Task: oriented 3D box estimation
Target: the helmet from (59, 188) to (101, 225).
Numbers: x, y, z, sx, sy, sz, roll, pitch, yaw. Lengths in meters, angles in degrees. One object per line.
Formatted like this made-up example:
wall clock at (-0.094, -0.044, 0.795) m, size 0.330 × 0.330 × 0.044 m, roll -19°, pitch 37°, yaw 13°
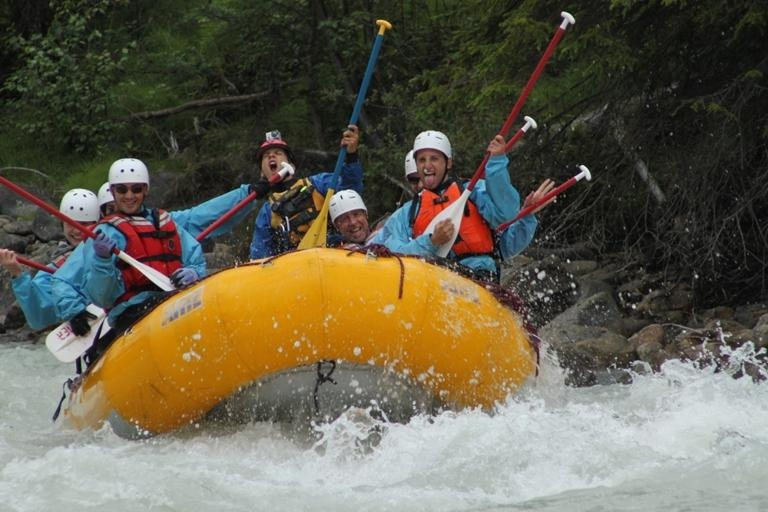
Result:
helmet at (-3.956, -0.652, 14.467) m, size 0.381 × 0.540 × 0.460 m, roll 2°, pitch 60°, yaw -2°

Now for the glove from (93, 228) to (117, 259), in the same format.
glove at (-3.152, -0.145, 12.484) m, size 0.220 × 0.124 × 0.293 m, roll -24°, pitch 76°, yaw -48°

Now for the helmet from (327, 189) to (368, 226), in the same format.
helmet at (-0.465, -0.634, 13.099) m, size 0.303 × 0.425 × 0.330 m, roll -9°, pitch 28°, yaw -4°

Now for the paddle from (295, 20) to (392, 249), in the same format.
paddle at (-0.317, -1.372, 13.732) m, size 0.739 × 3.711 × 0.143 m, roll 16°, pitch 45°, yaw 3°

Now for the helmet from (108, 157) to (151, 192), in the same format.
helmet at (-3.032, -0.978, 13.256) m, size 0.308 × 0.430 × 0.374 m, roll -1°, pitch -7°, yaw -6°

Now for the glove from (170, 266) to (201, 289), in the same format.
glove at (-2.299, 0.240, 12.834) m, size 0.239 × 0.129 × 0.309 m, roll 34°, pitch 41°, yaw 27°

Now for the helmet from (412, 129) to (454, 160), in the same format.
helmet at (0.606, -1.307, 13.550) m, size 0.301 × 0.423 × 0.336 m, roll 1°, pitch 41°, yaw 12°
